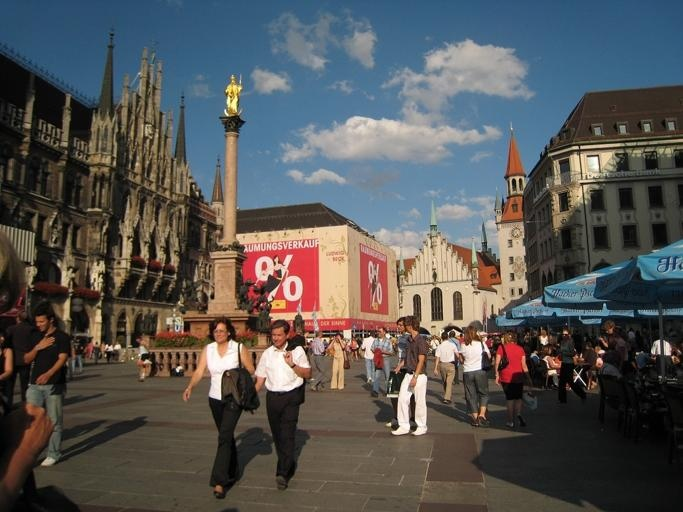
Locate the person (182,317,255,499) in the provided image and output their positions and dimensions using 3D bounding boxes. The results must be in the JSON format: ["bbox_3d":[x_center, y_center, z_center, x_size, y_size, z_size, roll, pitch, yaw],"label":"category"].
[{"bbox_3d":[-1.919,2.339,9.736,1.006,2.636,1.368,0,-4,-13],"label":"person"}]

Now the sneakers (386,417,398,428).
[{"bbox_3d":[1.083,3.648,13.099,0.121,0.253,0.353,15,-21,-30],"label":"sneakers"}]

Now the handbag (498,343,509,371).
[{"bbox_3d":[3.585,2.305,13.524,0.158,0.648,0.324,10,-26,-15],"label":"handbag"}]

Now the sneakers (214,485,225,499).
[{"bbox_3d":[-1.841,3.533,9.104,0.176,0.165,0.267,0,-4,-11],"label":"sneakers"}]

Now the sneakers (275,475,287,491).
[{"bbox_3d":[-0.927,3.487,9.274,0.109,0.214,0.207,-6,18,9],"label":"sneakers"}]

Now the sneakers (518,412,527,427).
[{"bbox_3d":[3.978,3.759,13.434,0.114,0.147,0.349,-12,-49,15],"label":"sneakers"}]

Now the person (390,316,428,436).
[{"bbox_3d":[1.426,2.512,12.700,0.703,2.430,0.825,-1,-4,5],"label":"person"}]

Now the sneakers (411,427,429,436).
[{"bbox_3d":[1.589,3.639,12.494,0.129,0.159,0.368,-19,-29,41],"label":"sneakers"}]

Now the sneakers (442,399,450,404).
[{"bbox_3d":[2.913,4.107,17.017,0.182,0.096,0.239,2,-25,3],"label":"sneakers"}]

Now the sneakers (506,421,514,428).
[{"bbox_3d":[3.690,3.723,13.318,0.096,0.075,0.181,2,6,-4],"label":"sneakers"}]

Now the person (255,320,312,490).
[{"bbox_3d":[-0.942,2.330,9.686,0.872,2.554,0.726,-1,-4,-1],"label":"person"}]

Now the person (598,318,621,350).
[{"bbox_3d":[7.919,2.581,17.945,0.327,0.998,0.294,15,-13,-24],"label":"person"}]

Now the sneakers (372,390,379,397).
[{"bbox_3d":[0.980,4.243,18.472,0.122,0.178,0.203,-2,-28,8],"label":"sneakers"}]

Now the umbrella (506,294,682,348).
[{"bbox_3d":[9.665,2.608,23.100,3.730,1.409,4.126,-4,-12,31],"label":"umbrella"}]

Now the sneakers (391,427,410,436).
[{"bbox_3d":[1.192,3.621,12.424,0.384,0.162,0.149,10,-18,-29],"label":"sneakers"}]
